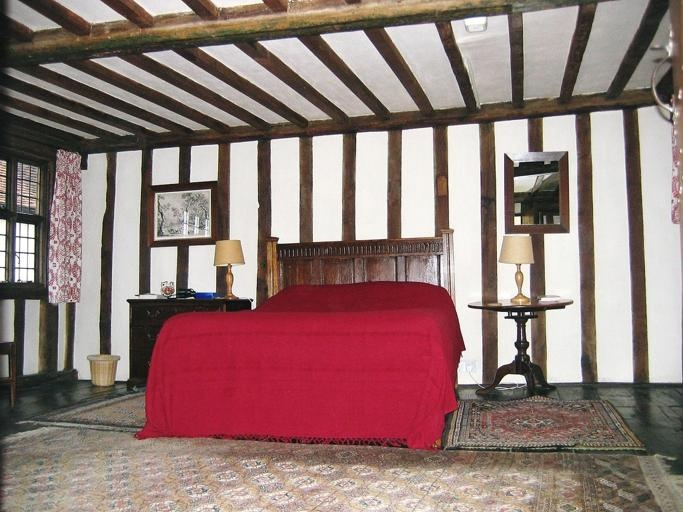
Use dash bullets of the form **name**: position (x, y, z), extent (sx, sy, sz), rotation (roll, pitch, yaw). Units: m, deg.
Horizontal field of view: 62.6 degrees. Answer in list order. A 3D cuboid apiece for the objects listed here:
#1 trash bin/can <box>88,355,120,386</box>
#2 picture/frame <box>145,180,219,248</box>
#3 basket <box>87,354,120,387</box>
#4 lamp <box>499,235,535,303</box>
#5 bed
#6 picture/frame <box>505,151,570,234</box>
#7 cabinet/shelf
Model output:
- **trash bin/can**: position (-2.690, 1.275, 6.359), extent (0.368, 0.283, 0.348), rotation (1, -8, 3)
- **picture/frame**: position (-1.867, -0.473, 6.655), extent (0.872, 0.672, 0.067), rotation (-1, -3, 12)
- **basket**: position (-2.700, 1.311, 6.469), extent (0.370, 0.284, 0.350), rotation (2, -9, 1)
- **lamp**: position (1.748, 0.118, 5.611), extent (0.337, 0.708, 0.521), rotation (-3, -3, 17)
- **bed**: position (-0.097, 0.574, 5.255), extent (2.410, 1.520, 2.859), rotation (-1, 1, 15)
- **picture/frame**: position (2.069, -0.633, 5.856), extent (0.930, 1.134, 0.098), rotation (0, -2, 10)
- **cabinet/shelf**: position (-1.692, 0.947, 6.310), extent (1.193, 0.929, 0.686), rotation (-2, -3, 13)
